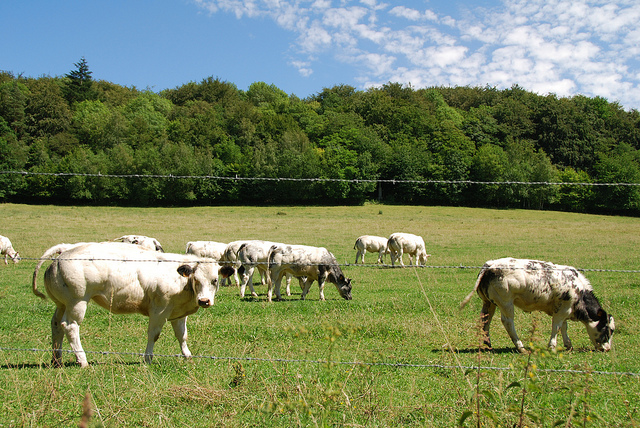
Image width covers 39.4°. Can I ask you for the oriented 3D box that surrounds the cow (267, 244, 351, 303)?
[{"bbox_3d":[-0.824,5.460,78.139,8.685,4.991,2.422,7,-12,-24],"label":"cow"}]

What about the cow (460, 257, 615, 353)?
[{"bbox_3d":[17.985,7.841,72.442,13.342,7.188,3.394,8,-2,-15],"label":"cow"}]

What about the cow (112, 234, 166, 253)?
[{"bbox_3d":[-15.632,2.627,77.090,4.678,2.323,1.258,2,11,10],"label":"cow"}]
